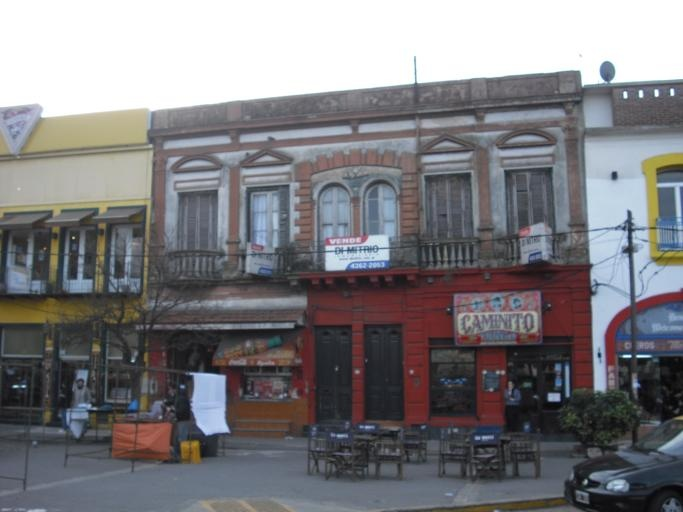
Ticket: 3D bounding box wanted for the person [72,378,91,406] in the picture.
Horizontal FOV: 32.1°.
[{"bbox_3d":[-10.213,5.322,46.529,0.699,1.159,1.207,0,-10,-14],"label":"person"}]
